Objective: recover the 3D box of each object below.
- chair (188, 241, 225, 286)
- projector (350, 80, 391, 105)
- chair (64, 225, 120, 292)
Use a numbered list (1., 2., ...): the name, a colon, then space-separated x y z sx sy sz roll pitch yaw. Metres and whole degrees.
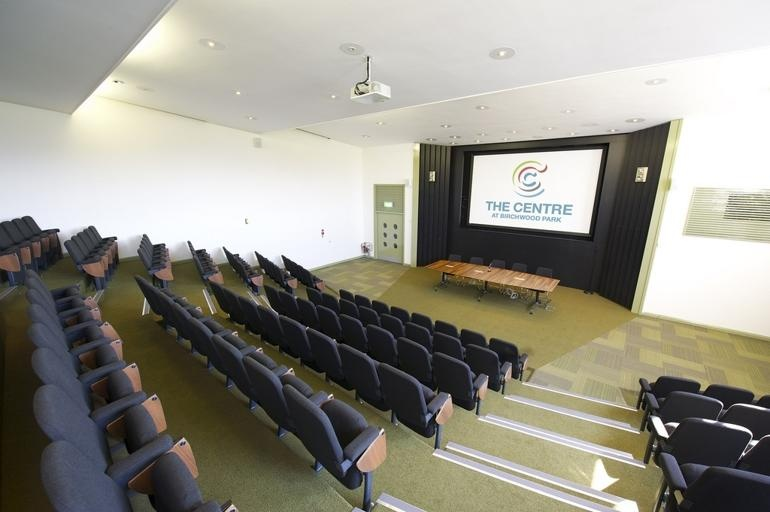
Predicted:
1. chair: -4.108 0.207 9.804 0.279 0.402 0.940 -14 38 -25
2. projector: -0.239 -2.519 6.692 0.575 0.285 0.318 2 8 7
3. chair: -5.669 0.103 8.284 0.386 0.630 1.141 -1 18 -21
